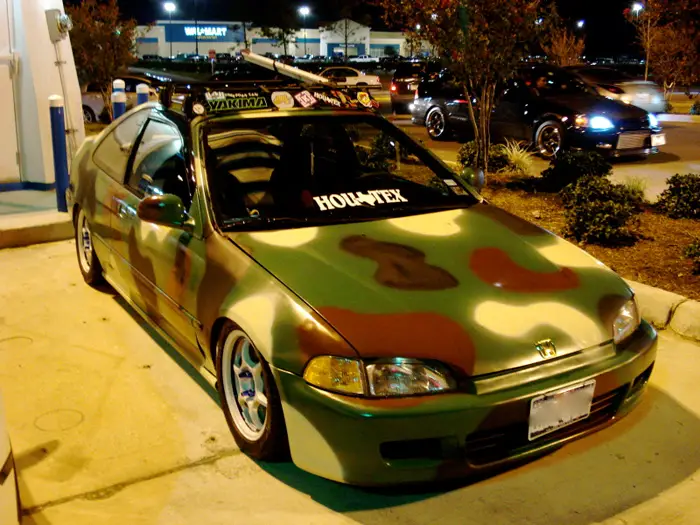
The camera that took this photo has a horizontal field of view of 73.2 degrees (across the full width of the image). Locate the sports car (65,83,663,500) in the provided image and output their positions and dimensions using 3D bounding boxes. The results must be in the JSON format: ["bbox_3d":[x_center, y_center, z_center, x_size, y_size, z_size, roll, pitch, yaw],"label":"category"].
[{"bbox_3d":[-0.050,-0.138,3.133,2.040,2.063,3.405,-14,21,-42],"label":"sports car"}]
